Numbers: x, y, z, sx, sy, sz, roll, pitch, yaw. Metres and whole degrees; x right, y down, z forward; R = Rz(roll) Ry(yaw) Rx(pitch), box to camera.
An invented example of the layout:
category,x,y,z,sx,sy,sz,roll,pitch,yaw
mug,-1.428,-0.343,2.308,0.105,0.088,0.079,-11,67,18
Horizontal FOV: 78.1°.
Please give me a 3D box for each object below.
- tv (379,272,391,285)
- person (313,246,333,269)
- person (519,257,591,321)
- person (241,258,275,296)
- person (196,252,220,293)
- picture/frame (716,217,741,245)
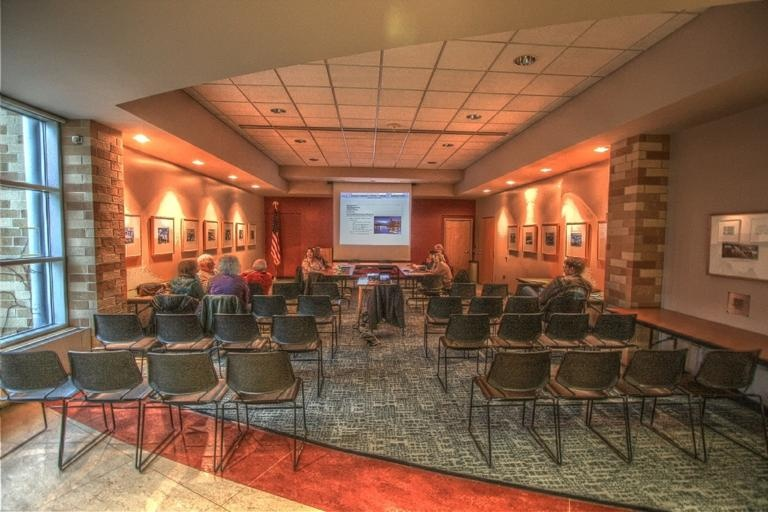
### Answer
category,x,y,z,sx,sy,sz,roll,pitch,yaw
tv,0.031,0.392,8.303,0.253,0.213,0.128,1,-28,-4
person,-1.479,0.061,10.805,0.670,0.449,0.886,0,3,0
person,2.684,0.481,7.241,1.206,1.028,0.826,-1,9,-1
person,-2.473,0.392,9.173,0.645,1.036,0.559,4,22,-3
person,-2.896,0.282,7.737,0.309,0.774,0.596,-9,10,-9
picture/frame,4.458,-0.328,6.108,0.052,0.476,0.385,2,0,-22
